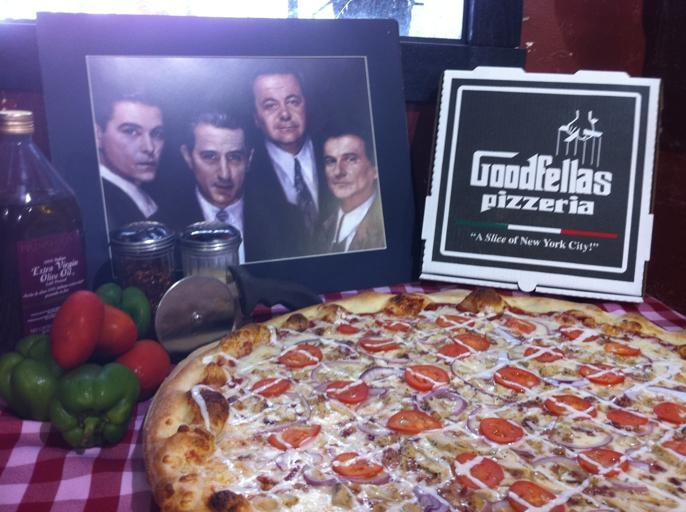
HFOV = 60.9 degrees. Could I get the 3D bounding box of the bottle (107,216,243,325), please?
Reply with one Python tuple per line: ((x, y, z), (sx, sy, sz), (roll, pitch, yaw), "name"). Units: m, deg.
((-0.547, 0.025, 2.159), (0.475, 0.470, 0.263), (0, 18, -8), "bottle")
